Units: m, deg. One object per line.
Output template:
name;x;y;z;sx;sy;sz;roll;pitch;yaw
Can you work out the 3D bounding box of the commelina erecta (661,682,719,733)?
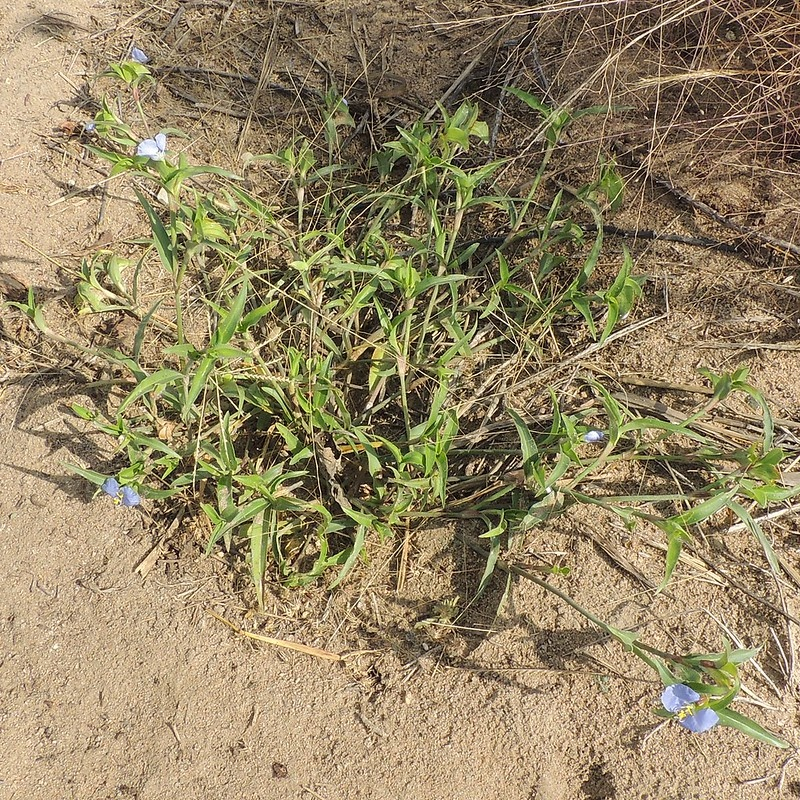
commelina erecta;0.744;0.779;2.099;0.147;0.112;0.052;12;87;-30
